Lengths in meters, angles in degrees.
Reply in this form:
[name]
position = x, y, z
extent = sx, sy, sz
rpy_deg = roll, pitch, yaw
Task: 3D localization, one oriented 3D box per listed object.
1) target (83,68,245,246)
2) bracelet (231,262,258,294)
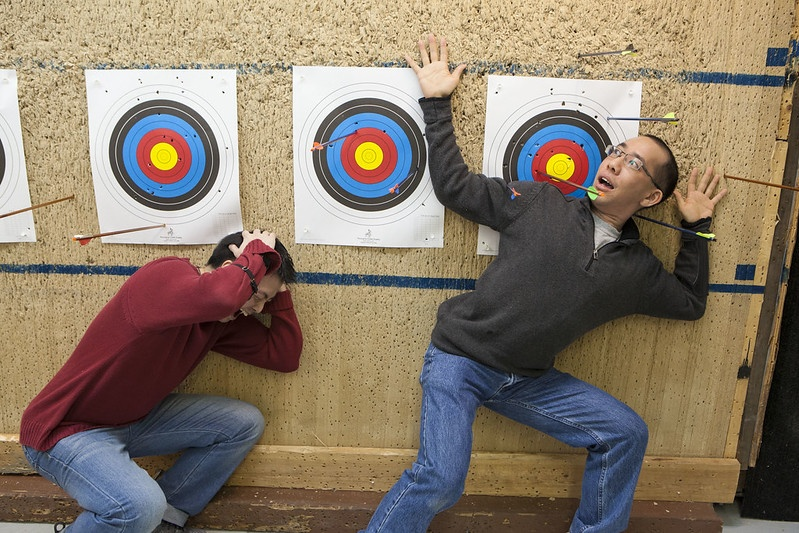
[target]
position = -0.840, -0.385, 2.674
extent = 0.559, 0.621, 0.046
rpy_deg = 3, 7, 6
[bracelet]
position = -0.499, 0.045, 2.463
extent = 0.062, 0.082, 0.025
rpy_deg = 41, 61, 11
